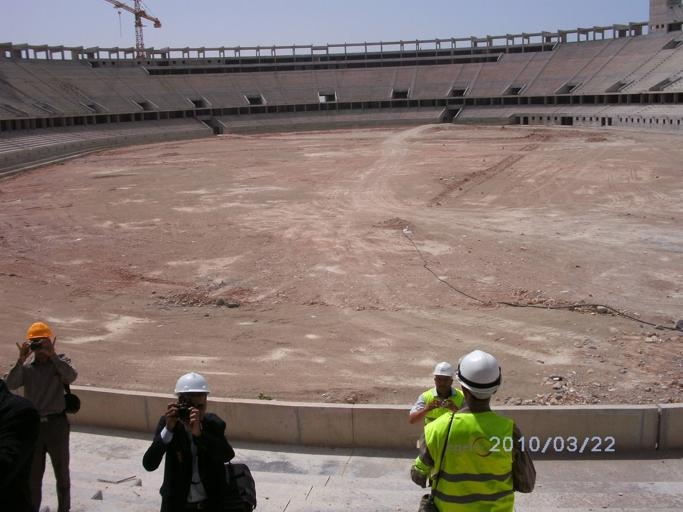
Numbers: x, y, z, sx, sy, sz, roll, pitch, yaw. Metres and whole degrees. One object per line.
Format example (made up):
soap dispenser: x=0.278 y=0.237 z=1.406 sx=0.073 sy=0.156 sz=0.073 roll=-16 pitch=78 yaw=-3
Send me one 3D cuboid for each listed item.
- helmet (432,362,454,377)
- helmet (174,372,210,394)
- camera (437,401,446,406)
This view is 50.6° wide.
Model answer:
helmet: x=1.335 y=1.450 z=9.367 sx=0.288 sy=0.099 sz=0.273 roll=0 pitch=-5 yaw=12
helmet: x=-1.737 y=1.415 z=8.136 sx=0.338 sy=0.131 sz=0.383 roll=1 pitch=-5 yaw=-37
camera: x=1.227 y=1.804 z=8.927 sx=0.102 sy=0.014 sz=0.072 roll=0 pitch=8 yaw=-5
